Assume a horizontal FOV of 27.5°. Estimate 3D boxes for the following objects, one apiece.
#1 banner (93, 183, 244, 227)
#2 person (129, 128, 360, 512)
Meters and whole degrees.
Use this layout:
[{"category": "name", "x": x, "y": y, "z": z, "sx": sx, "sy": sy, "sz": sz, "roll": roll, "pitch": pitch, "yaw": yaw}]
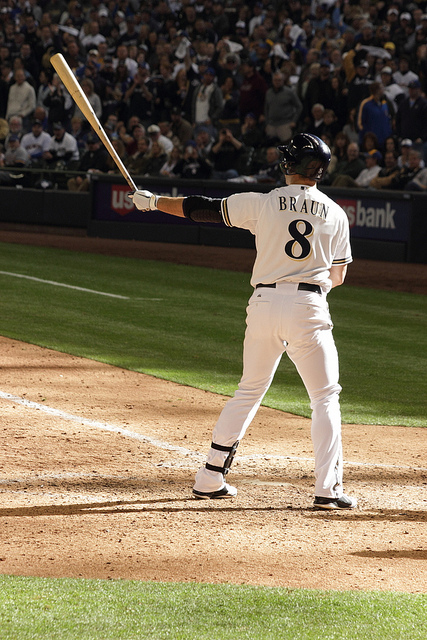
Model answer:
[{"category": "banner", "x": -0.869, "y": -2.077, "z": 16.265, "sx": 3.596, "sy": 1.086, "sz": 0.263, "roll": 9, "pitch": 9, "yaw": 33}, {"category": "person", "x": 0.238, "y": -0.008, "z": 4.273, "sx": 0.835, "sy": 1.822, "sz": 0.476, "roll": 3, "pitch": -9, "yaw": 6}]
